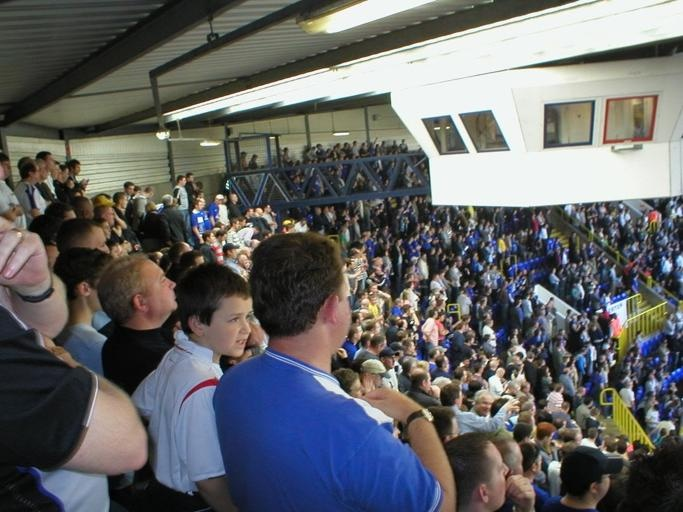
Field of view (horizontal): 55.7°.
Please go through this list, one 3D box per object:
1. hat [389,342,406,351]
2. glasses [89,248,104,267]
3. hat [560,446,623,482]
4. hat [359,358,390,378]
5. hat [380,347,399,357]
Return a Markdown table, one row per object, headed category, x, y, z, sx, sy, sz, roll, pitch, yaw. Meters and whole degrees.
| category | x | y | z | sx | sy | sz | roll | pitch | yaw |
| --- | --- | --- | --- | --- | --- | --- | --- | --- | --- |
| hat | 0.729 | 1.195 | 8.421 | 0.172 | 0.094 | 0.121 | 22 | 28 | 17 |
| glasses | -1.778 | 0.010 | 4.739 | 0.092 | 0.117 | 0.040 | 9 | -36 | -14 |
| hat | 1.771 | 1.469 | 4.580 | 0.441 | 0.209 | 0.265 | -4 | 9 | -22 |
| hat | 0.276 | 0.957 | 5.448 | 0.232 | 0.108 | 0.155 | 5 | 4 | 2 |
| hat | 0.539 | 1.127 | 7.378 | 0.203 | 0.091 | 0.145 | -13 | -3 | 11 |
